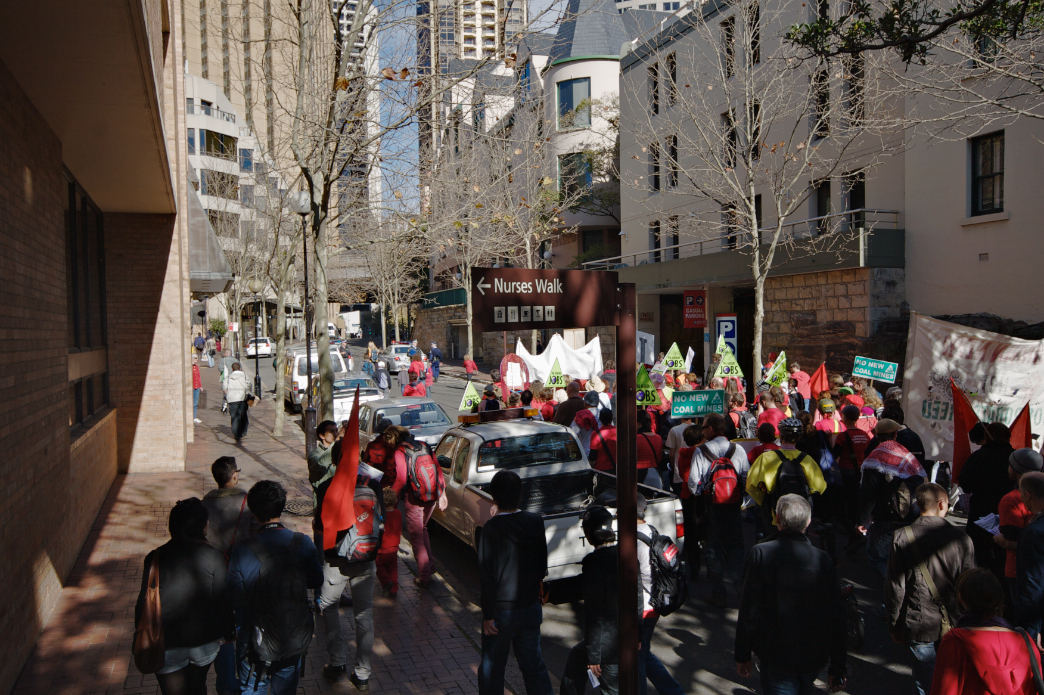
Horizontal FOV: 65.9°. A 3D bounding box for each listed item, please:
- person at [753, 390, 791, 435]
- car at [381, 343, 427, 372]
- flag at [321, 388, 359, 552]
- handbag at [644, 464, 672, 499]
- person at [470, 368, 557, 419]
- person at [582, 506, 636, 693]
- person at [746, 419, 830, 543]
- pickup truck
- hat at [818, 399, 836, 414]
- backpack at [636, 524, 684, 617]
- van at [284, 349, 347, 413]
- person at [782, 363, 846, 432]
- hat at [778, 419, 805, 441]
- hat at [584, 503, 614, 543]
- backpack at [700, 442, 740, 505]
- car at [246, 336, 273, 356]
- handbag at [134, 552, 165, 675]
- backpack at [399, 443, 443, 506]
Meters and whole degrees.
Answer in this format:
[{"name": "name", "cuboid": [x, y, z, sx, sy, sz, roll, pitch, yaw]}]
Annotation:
[{"name": "person", "cuboid": [3.865, 0.986, 12.498, 0.552, 0.785, 0.429, -6, 40, 13]}, {"name": "car", "cuboid": [-7.150, 0.574, 46.650, 1.637, 1.628, 3.667, -2, 9, -10]}, {"name": "flag", "cuboid": [-1.895, 1.254, 8.348, 0.365, 1.633, 0.280, 0, 0, -15]}, {"name": "handbag", "cuboid": [1.984, 1.943, 11.920, 0.434, 0.575, 0.387, 4, -33, -11]}, {"name": "person", "cuboid": [-0.214, 0.916, 15.772, 1.160, 0.591, 0.781, 2, 1, 6]}, {"name": "person", "cuboid": [0.709, 2.275, 7.307, 0.315, 1.640, 0.152, 0, 0, 22]}, {"name": "person", "cuboid": [3.319, 1.869, 10.312, 0.967, 1.973, 0.658, 2, 18, -1]}, {"name": "pickup truck", "cuboid": [0.092, 2.170, 11.628, 1.599, 1.300, 3.428, -2, 7, -24]}, {"name": "hat", "cuboid": [5.111, 0.952, 13.475, 0.205, 0.237, 0.244, 4, -9, 1]}, {"name": "backpack", "cuboid": [1.330, 2.103, 7.578, 0.365, 0.720, 0.492, -3, 0, 32]}, {"name": "van", "cuboid": [-7.973, 1.424, 30.440, 2.551, 2.666, 4.337, -2, 6, -15]}, {"name": "person", "cuboid": [5.490, 0.904, 15.222, 0.717, 0.213, 1.874, -18, 24, 14]}, {"name": "hat", "cuboid": [3.555, 1.043, 10.661, 0.241, 0.310, 0.314, 6, 19, 19]}, {"name": "hat", "cuboid": [0.700, 1.606, 7.409, 0.236, 0.312, 0.299, 1, -14, 8]}, {"name": "backpack", "cuboid": [2.618, 1.714, 10.490, 0.402, 0.636, 0.603, -1, -2, -1]}, {"name": "car", "cuboid": [-19.367, -0.213, 59.016, 1.219, 0.987, 2.760, -1, 9, -12]}, {"name": "handbag", "cuboid": [-3.222, 2.259, 6.925, 0.246, 1.026, 0.126, 0, 0, -12]}, {"name": "backpack", "cuboid": [-1.300, 1.626, 10.482, 0.496, 0.812, 0.327, 0, 0, -9]}]
